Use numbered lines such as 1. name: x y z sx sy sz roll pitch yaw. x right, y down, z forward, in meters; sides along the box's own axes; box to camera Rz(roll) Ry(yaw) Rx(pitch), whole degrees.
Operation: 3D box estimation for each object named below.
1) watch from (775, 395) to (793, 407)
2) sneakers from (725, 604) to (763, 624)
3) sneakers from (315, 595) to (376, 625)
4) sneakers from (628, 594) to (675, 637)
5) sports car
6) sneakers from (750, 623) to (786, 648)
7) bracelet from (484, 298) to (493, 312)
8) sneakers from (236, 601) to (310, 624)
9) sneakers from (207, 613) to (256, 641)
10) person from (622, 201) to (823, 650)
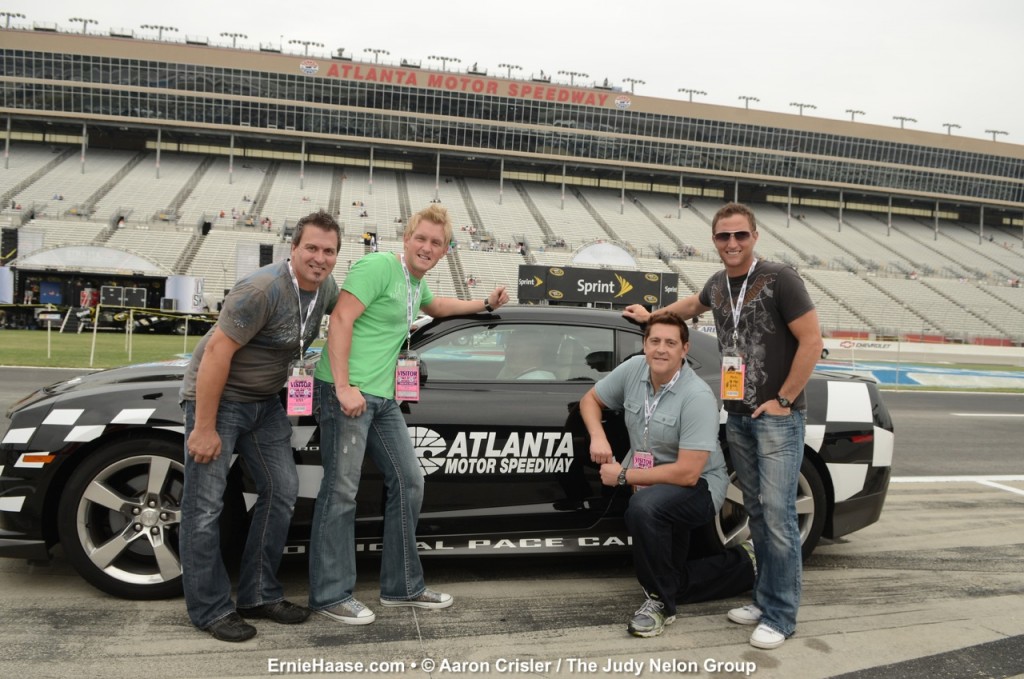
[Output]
1. watch: 2.008 0.450 5.807 0.100 0.070 0.039 37 6 14
2. sneakers: 1.765 2.084 5.992 0.253 0.099 0.106 5 1 -1
3. sneakers: -1.204 1.999 5.856 0.423 0.153 0.172 1 -3 8
4. sneakers: 1.041 2.052 5.814 0.181 0.182 0.409 -8 -16 34
5. sports car: -0.569 0.936 6.934 6.053 1.808 2.725 3 -4 -10
6. sneakers: 1.864 2.150 5.713 0.263 0.123 0.176 3 7 14
7. bracelet: -0.177 -0.288 6.438 0.091 0.085 0.087 9 -23 -4
8. sneakers: -1.722 1.971 5.827 0.516 0.189 0.190 -1 -1 5
9. sneakers: -1.969 2.044 5.591 0.328 0.158 0.162 3 7 21
10. person: 1.812 0.591 5.894 0.801 3.169 0.565 6 8 36
